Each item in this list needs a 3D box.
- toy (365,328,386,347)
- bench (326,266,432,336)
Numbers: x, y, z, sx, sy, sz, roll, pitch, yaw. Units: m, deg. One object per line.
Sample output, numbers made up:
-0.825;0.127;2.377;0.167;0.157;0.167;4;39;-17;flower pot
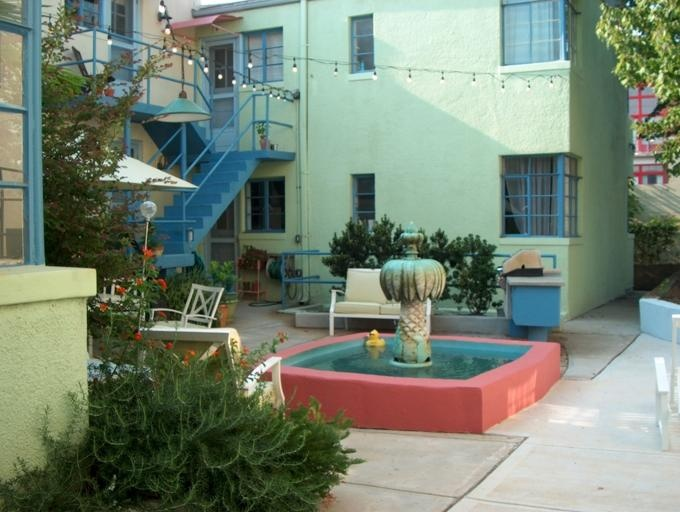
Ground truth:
0.397;0.973;8.268;0.134;0.209;0.225;-2;-7;24;toy
0.629;0.700;10.871;1.381;1.203;0.972;1;-6;9;bench
